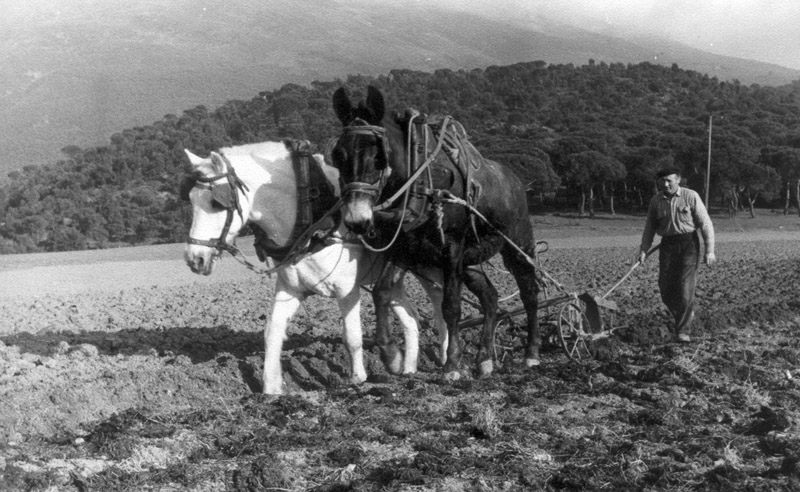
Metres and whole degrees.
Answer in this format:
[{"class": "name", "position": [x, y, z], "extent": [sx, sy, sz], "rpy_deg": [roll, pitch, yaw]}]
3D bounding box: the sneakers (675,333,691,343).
[{"class": "sneakers", "position": [5.238, 1.710, 17.552], "extent": [0.188, 0.175, 0.186], "rpy_deg": [-3, 10, 6]}]

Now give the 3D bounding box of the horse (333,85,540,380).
[{"class": "horse", "position": [0.793, 0.047, 17.173], "extent": [2.041, 4.456, 6.027], "rpy_deg": [-4, -7, 34]}]

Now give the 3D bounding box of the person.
[{"class": "person", "position": [5.162, 0.149, 17.719], "extent": [1.307, 3.084, 0.786], "rpy_deg": [1, 11, 15]}]
